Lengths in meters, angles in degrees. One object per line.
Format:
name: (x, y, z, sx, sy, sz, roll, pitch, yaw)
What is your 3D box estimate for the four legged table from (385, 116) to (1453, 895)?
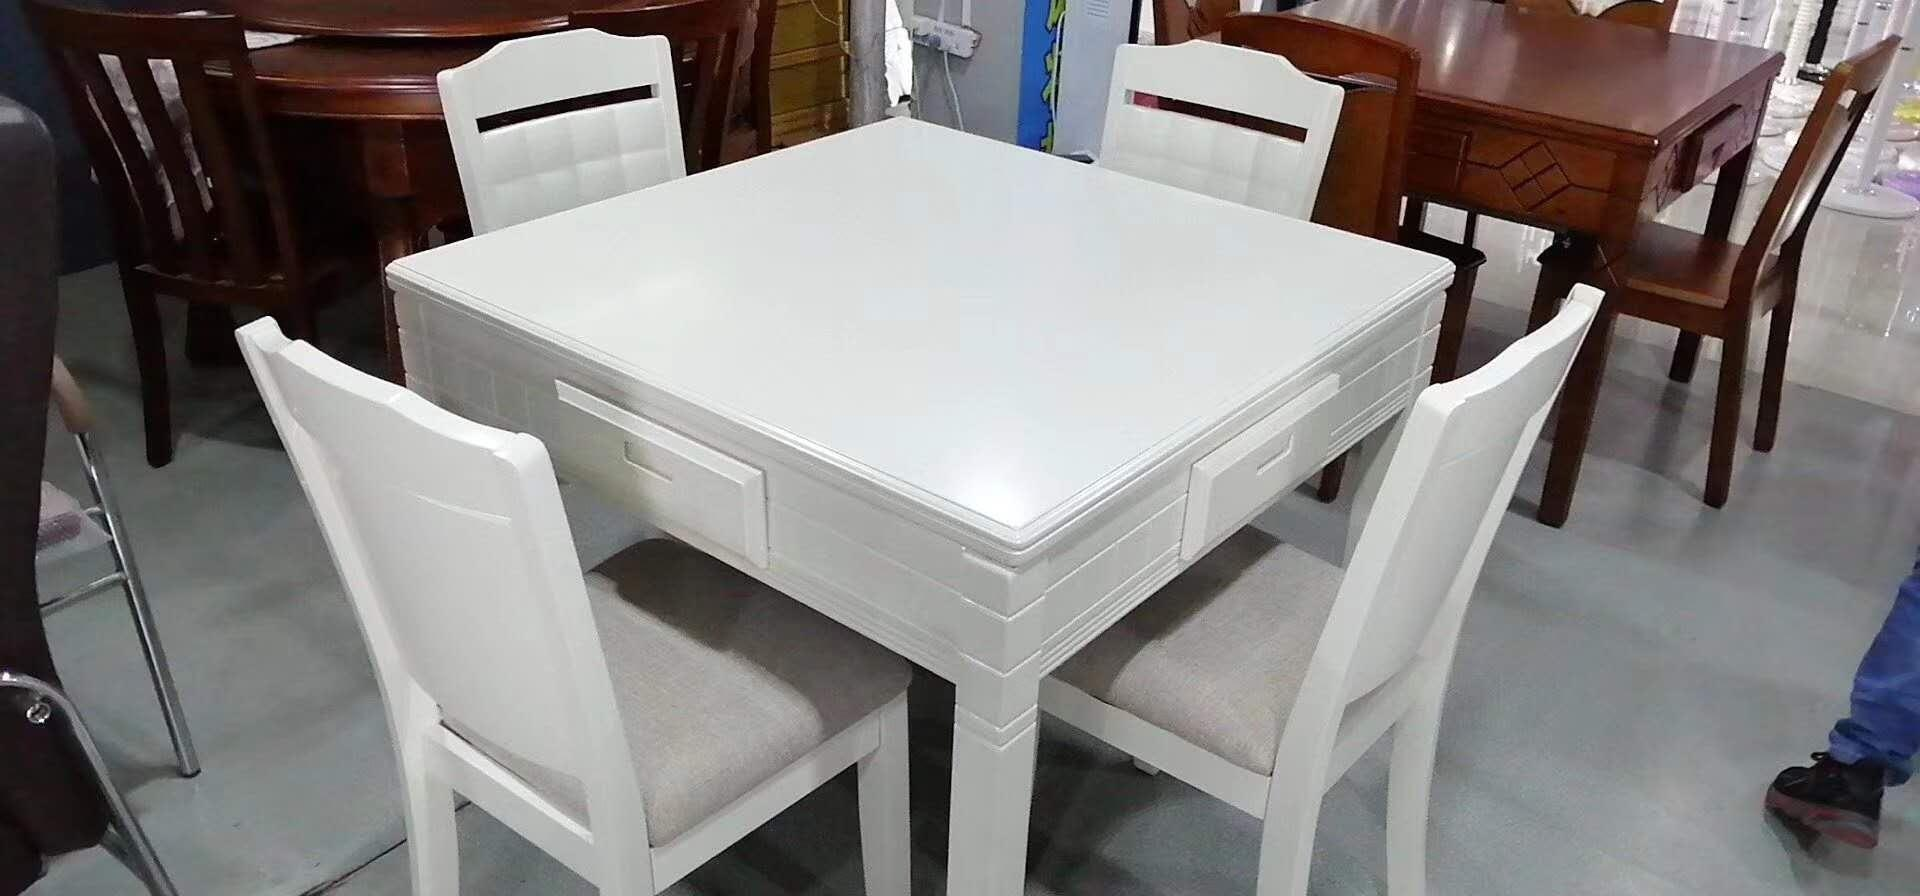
four legged table: (-0.247, 0.276, 3.392, 2.184, 1.171, 2.086, 32, 47, 32)

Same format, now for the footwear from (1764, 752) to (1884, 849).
footwear: (2.340, 0.964, 3.042, 0.158, 0.220, 0.251, -25, 40, -35)

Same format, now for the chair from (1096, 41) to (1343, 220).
chair: (0.778, -0.932, 3.333, 0.417, 0.664, 0.379, 26, 60, 8)
